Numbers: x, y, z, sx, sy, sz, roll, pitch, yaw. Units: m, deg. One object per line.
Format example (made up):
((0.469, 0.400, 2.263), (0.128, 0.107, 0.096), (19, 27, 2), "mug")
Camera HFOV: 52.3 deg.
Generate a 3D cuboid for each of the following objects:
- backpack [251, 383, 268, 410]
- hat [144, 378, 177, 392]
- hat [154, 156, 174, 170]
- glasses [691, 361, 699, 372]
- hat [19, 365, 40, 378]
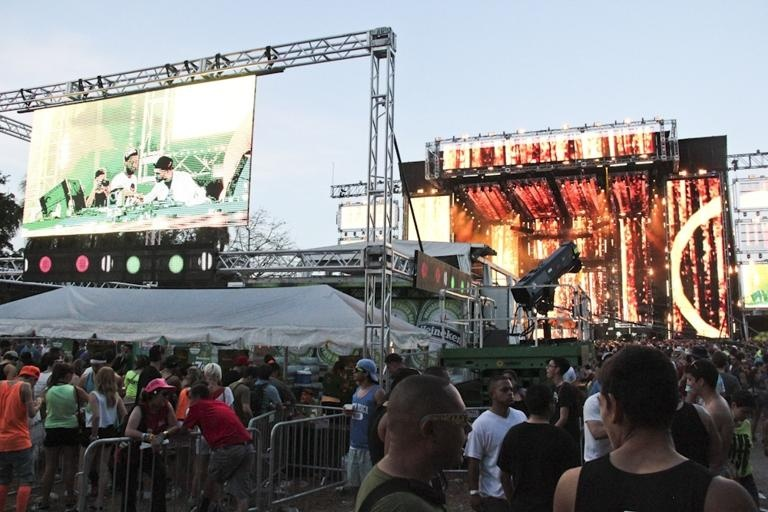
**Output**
((-2.453, 2.837, 15.659), (0.416, 0.698, 0.514), (0, -3, -13), "backpack")
((-3.829, 2.199, 13.236), (0.396, 0.152, 0.244), (0, -8, -6), "hat")
((-6.784, -2.871, 24.101), (0.529, 0.441, 0.392), (18, -1, 42), "hat")
((4.791, 1.712, 12.021), (0.053, 0.138, 0.112), (22, -20, -31), "glasses")
((-6.265, 2.098, 13.918), (0.253, 0.177, 0.359), (5, -2, 2), "hat")
